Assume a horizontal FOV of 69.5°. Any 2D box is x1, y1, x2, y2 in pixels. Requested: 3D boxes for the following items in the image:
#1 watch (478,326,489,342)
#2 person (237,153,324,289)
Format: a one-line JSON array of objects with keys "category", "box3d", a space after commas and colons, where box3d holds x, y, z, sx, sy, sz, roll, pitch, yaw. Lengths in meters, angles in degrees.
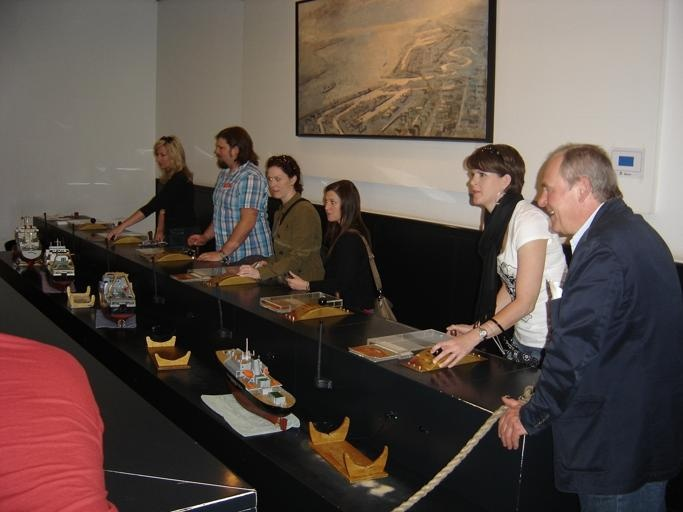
[{"category": "watch", "box3d": [0.556, 0.306, 1.914, 0.037, 0.058, 0.055, -11, -7, -7]}, {"category": "person", "box3d": [-0.326, -0.222, 3.540, 0.786, 1.171, 0.672, 0, -2, -11]}]
